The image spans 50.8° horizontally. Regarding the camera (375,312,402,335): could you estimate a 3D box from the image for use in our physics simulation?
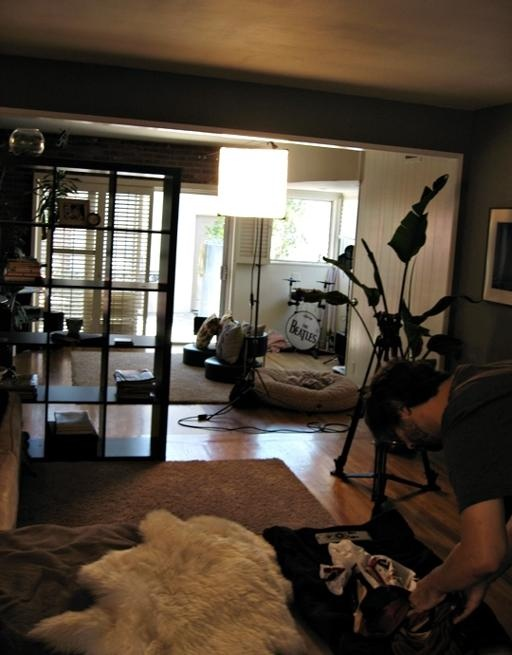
[{"bbox_3d":[0.928,-0.025,3.720,0.168,0.041,0.157,10,36,-8],"label":"camera"}]

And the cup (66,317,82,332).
[{"bbox_3d":[-1.277,-0.021,3.786,0.117,0.079,0.109,-1,5,0],"label":"cup"}]

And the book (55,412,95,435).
[{"bbox_3d":[-1.311,0.690,3.881,0.198,0.065,0.192,-1,18,-16],"label":"book"}]

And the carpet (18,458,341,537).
[{"bbox_3d":[-0.529,1.013,3.388,1.875,0.310,1.034,11,-6,-5],"label":"carpet"}]

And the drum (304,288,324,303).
[{"bbox_3d":[0.421,-0.231,3.871,0.127,0.115,0.244,11,-6,4],"label":"drum"}]

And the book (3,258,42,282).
[{"bbox_3d":[-1.534,-0.373,3.576,0.208,0.161,0.190,18,-9,-43],"label":"book"}]

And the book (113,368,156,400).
[{"bbox_3d":[-0.877,0.405,3.902,0.269,0.092,0.191,-5,18,-25],"label":"book"}]
